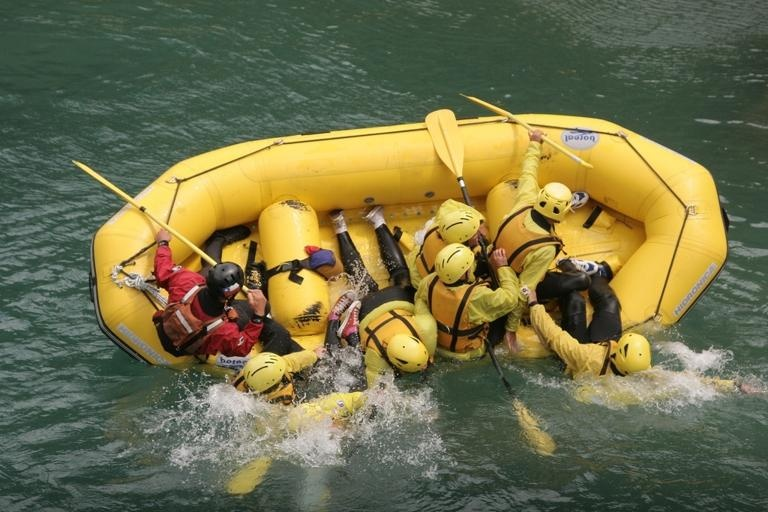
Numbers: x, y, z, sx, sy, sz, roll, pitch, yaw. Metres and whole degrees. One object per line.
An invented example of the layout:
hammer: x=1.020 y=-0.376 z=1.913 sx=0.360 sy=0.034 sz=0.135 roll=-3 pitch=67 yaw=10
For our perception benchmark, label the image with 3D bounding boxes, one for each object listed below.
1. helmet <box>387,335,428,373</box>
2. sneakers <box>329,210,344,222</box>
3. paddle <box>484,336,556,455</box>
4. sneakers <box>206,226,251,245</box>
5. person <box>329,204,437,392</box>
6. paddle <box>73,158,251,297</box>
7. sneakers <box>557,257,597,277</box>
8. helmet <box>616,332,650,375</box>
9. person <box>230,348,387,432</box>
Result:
helmet: x=0.273 y=1.157 z=11.065 sx=0.465 sy=0.399 sz=0.476 roll=-18 pitch=70 yaw=0
sneakers: x=-0.615 y=-0.535 z=12.270 sx=0.182 sy=0.171 sz=0.129 roll=-6 pitch=80 yaw=32
paddle: x=1.468 y=1.727 z=11.063 sx=0.383 sy=0.236 sz=1.647 roll=-38 pitch=64 yaw=-15
sneakers: x=-1.973 y=-0.293 z=12.049 sx=0.752 sy=0.261 sz=0.148 roll=-9 pitch=97 yaw=-15
person: x=-0.013 y=0.596 z=11.686 sx=1.528 sy=0.888 sz=1.815 roll=-12 pitch=74 yaw=-13
paddle: x=-2.751 y=-0.295 z=11.651 sx=3.845 sy=0.139 sz=0.310 roll=28 pitch=72 yaw=0
sneakers: x=2.459 y=0.141 z=11.708 sx=0.668 sy=0.220 sz=0.151 roll=0 pitch=98 yaw=-3
helmet: x=2.944 y=1.169 z=10.928 sx=0.526 sy=0.463 sz=0.419 roll=4 pitch=86 yaw=-6
person: x=-0.989 y=1.575 z=10.961 sx=0.934 sy=0.605 sz=1.256 roll=-43 pitch=71 yaw=-10
